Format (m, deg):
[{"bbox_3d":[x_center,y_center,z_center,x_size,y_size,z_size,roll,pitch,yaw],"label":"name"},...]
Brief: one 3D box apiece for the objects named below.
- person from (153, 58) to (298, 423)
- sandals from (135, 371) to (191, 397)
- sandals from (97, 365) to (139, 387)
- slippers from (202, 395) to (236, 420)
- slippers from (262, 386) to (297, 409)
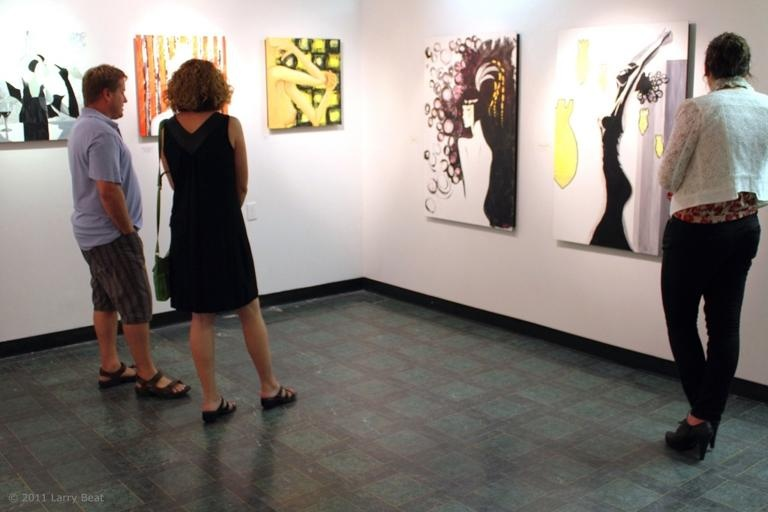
[{"bbox_3d":[-1.163,-0.081,3.764,0.723,2.481,0.429,-7,16,-23],"label":"person"},{"bbox_3d":[-1.714,0.992,4.213,0.407,0.176,0.174,0,11,5],"label":"sandals"},{"bbox_3d":[-2.159,0.968,4.388,0.163,0.149,0.349,9,12,42],"label":"sandals"},{"bbox_3d":[-1.198,1.129,3.928,0.094,0.111,0.258,4,10,27],"label":"slippers"},{"bbox_3d":[-0.784,1.080,4.018,0.121,0.108,0.249,9,13,39],"label":"slippers"}]
